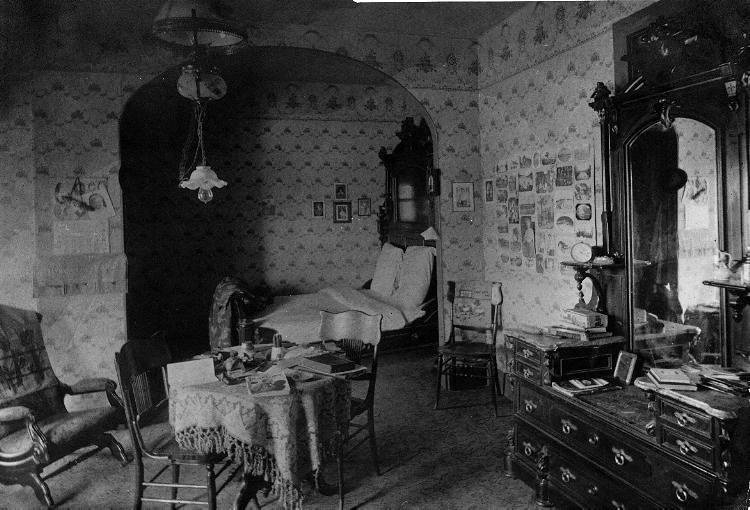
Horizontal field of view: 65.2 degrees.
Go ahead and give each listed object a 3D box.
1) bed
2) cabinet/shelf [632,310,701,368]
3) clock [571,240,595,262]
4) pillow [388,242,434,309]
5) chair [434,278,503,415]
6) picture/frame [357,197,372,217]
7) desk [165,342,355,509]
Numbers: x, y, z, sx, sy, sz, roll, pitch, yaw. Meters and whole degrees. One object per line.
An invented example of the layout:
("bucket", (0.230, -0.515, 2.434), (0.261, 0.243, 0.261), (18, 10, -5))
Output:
("bed", (-0.571, 0.616, 7.452), (2.093, 1.108, 1.613), (1, -1, -13))
("cabinet/shelf", (2.203, 0.664, 4.457), (0.364, 0.371, 0.496), (-1, 3, -12))
("clock", (1.743, -0.023, 4.921), (0.064, 0.140, 0.149), (4, 26, -44))
("pillow", (0.507, 0.285, 7.668), (0.215, 0.728, 0.701), (14, -2, -31))
("chair", (1.029, 0.963, 6.464), (0.685, 1.295, 0.877), (2, 12, 12))
("picture/frame", (-0.192, -0.758, 9.249), (0.314, 0.381, 0.038), (1, 7, -15))
("desk", (-0.883, 1.218, 4.318), (1.253, 0.705, 1.026), (0, 0, 40))
